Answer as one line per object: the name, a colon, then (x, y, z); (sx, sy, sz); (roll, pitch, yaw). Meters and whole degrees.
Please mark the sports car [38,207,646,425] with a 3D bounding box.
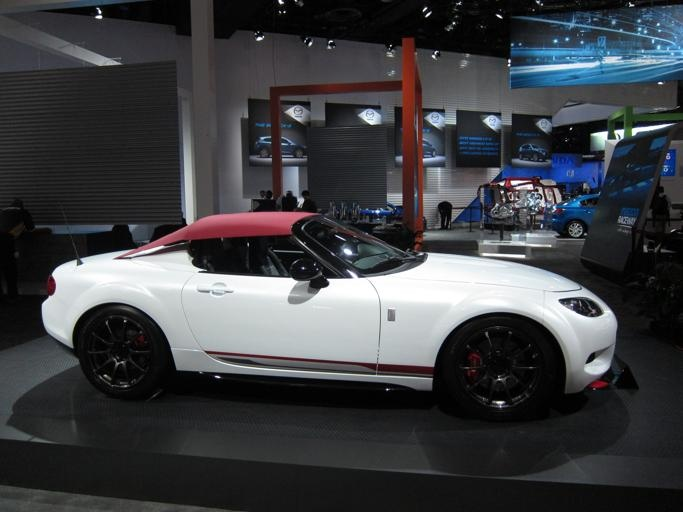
sports car: (-0.118, 0.377, 3.459); (3.905, 1.363, 0.672); (1, 9, 7)
